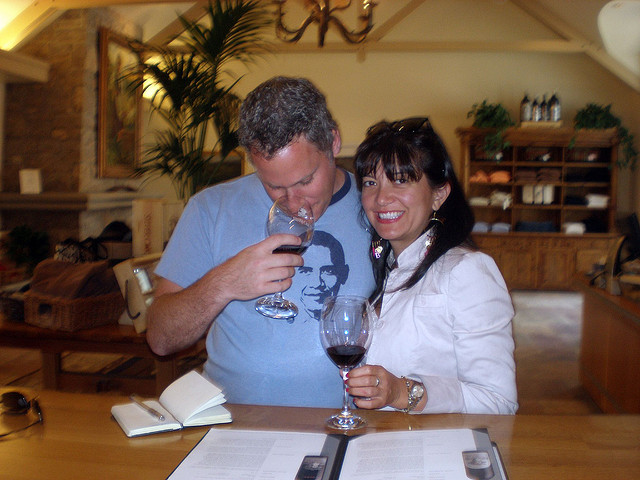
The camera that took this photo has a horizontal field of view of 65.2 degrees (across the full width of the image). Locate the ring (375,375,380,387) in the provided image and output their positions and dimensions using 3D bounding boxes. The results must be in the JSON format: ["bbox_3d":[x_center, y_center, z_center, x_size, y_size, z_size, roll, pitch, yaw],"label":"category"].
[{"bbox_3d":[0.175,0.427,1.512,0.011,0.032,0.021,3,15,16],"label":"ring"}]

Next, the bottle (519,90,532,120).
[{"bbox_3d":[3.318,-2.188,8.041,0.186,0.460,0.704,4,15,20],"label":"bottle"}]

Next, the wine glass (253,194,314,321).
[{"bbox_3d":[-0.131,0.082,1.881,0.211,0.485,0.354,1,15,7],"label":"wine glass"}]

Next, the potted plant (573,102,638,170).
[{"bbox_3d":[4.565,-1.811,8.103,0.938,1.086,0.446,2,24,4],"label":"potted plant"}]

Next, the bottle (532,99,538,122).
[{"bbox_3d":[3.366,-2.028,7.815,0.091,0.302,0.181,5,16,21],"label":"bottle"}]

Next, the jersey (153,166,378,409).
[{"bbox_3d":[-0.111,0.194,2.159,1.131,0.983,0.424,4,20,-8],"label":"jersey"}]

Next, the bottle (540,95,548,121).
[{"bbox_3d":[3.526,-2.058,7.869,0.105,0.333,0.305,3,15,14],"label":"bottle"}]

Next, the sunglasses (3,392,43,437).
[{"bbox_3d":[-0.935,0.550,1.585,0.105,0.114,0.032,2,-5,23],"label":"sunglasses"}]
